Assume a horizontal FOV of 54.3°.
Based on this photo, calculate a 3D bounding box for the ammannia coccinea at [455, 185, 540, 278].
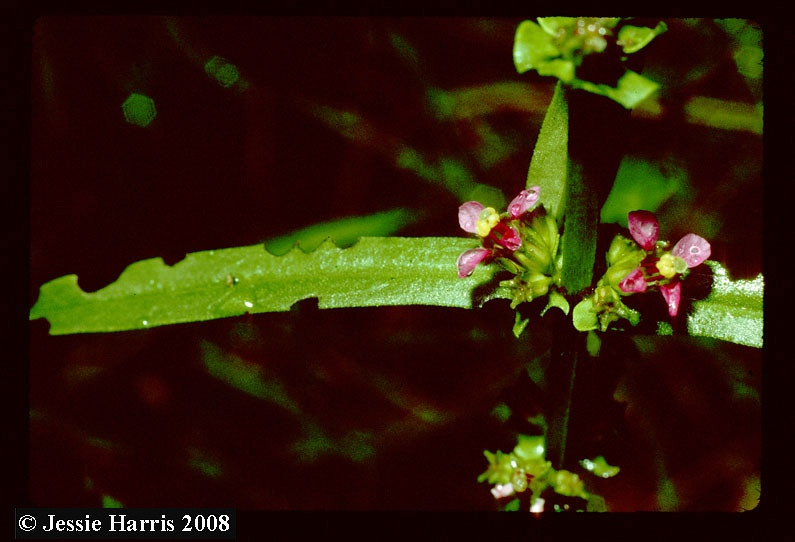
[{"bbox_3d":[0.349,-0.135,2.688,0.279,0.327,0.242,5,27,2],"label":"ammannia coccinea"}]

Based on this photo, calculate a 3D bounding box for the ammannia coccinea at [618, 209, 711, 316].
[{"bbox_3d":[0.891,-0.049,2.687,0.253,0.403,0.276,1,13,4],"label":"ammannia coccinea"}]
